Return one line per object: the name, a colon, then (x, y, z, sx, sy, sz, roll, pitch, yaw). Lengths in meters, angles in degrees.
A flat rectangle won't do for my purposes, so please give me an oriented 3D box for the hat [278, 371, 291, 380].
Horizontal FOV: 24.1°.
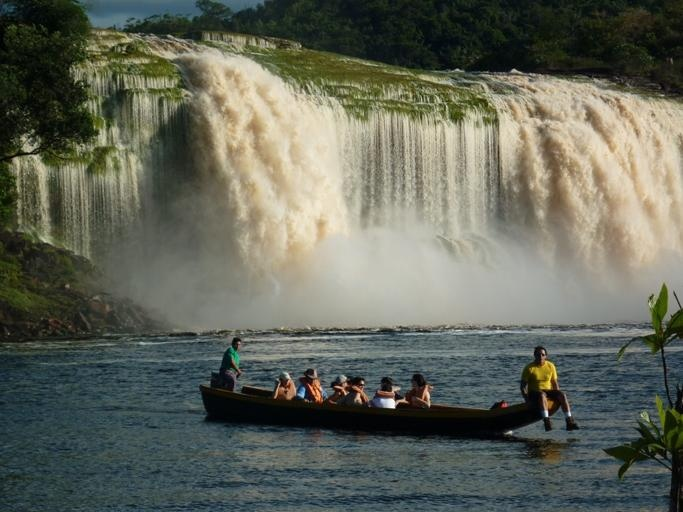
hat: (-2.382, 5.094, 66.226, 0.320, 0.254, 0.455, 2, -4, -13)
